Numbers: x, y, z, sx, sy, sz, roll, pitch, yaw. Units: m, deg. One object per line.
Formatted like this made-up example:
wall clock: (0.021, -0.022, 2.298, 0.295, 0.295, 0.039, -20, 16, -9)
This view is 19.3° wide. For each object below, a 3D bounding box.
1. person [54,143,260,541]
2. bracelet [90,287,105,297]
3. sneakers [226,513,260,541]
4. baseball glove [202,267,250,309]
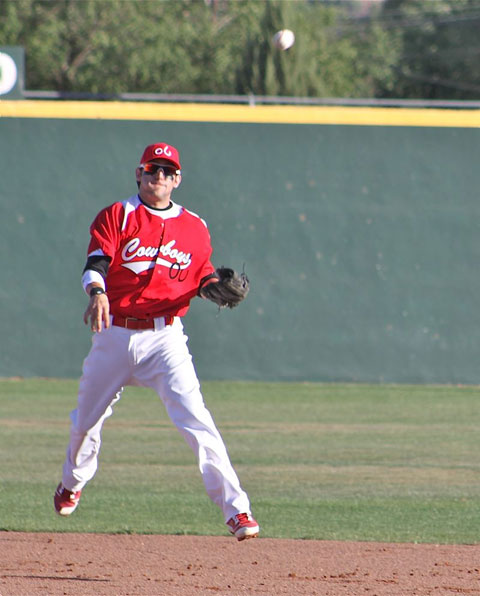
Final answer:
person: (-0.529, 0.264, 8.379, 1.165, 2.319, 0.809, -1, 8, -6)
bracelet: (-0.822, -0.042, 8.134, 0.059, 0.060, 0.045, 1, 24, -10)
sneakers: (0.009, 1.338, 8.266, 0.132, 0.169, 0.176, -5, 10, -31)
baseball glove: (-0.113, -0.018, 8.586, 0.325, 0.251, 0.153, -13, 44, 48)
